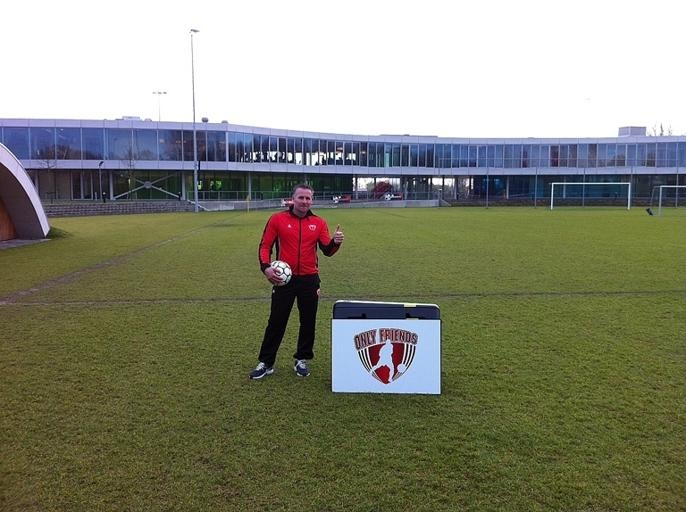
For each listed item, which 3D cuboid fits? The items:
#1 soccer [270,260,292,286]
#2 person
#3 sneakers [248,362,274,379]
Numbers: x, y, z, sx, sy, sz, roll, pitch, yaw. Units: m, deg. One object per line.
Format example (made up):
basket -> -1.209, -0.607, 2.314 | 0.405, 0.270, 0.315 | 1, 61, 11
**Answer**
soccer -> -0.731, 0.202, 6.594 | 0.261, 0.274, 0.228 | -6, 13, -24
person -> -0.595, 0.296, 6.752 | 1.050, 2.309, 0.517 | -2, 12, -10
sneakers -> -0.979, 1.391, 6.849 | 0.125, 0.151, 0.325 | 1, -3, 43
